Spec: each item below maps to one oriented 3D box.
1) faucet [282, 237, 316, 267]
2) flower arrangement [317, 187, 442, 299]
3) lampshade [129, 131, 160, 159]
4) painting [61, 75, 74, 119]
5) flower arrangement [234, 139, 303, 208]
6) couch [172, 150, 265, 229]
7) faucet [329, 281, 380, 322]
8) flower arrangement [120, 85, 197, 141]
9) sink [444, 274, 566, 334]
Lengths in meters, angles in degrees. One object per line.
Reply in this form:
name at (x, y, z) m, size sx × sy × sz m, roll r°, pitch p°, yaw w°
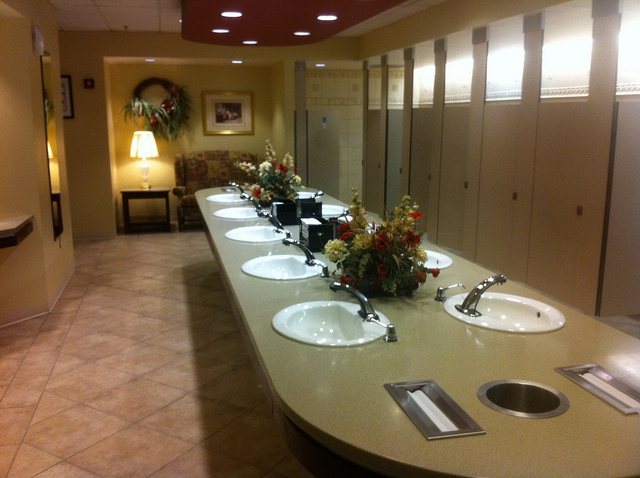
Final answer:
faucet at (-0.110, 0.069, 2.914) m, size 0.243 × 0.094 × 0.115 m, roll 21°, pitch 16°, yaw 1°
flower arrangement at (0.294, -0.040, 2.548) m, size 0.591 × 0.438 × 0.586 m, roll -9°, pitch 16°, yaw -43°
lampshade at (-3.145, -1.604, 8.097) m, size 0.458 × 0.480 × 0.467 m, roll -1°, pitch 11°, yaw -8°
painting at (-4.094, -2.290, 7.408) m, size 0.200 × 0.680 × 0.084 m, roll -10°, pitch 17°, yaw -28°
flower arrangement at (-0.423, -0.594, 4.971) m, size 0.723 × 0.872 × 0.823 m, roll -7°, pitch 0°, yaw 12°
couch at (-1.914, -0.917, 8.286) m, size 1.623 × 1.524 × 1.394 m, roll -2°, pitch 4°, yaw 5°
faucet at (0.215, 0.292, 2.224) m, size 0.282 × 0.159 × 0.192 m, roll 11°, pitch 20°, yaw 39°
flower arrangement at (-3.078, -2.390, 8.356) m, size 1.156 × 0.556 × 0.723 m, roll 1°, pitch 21°, yaw 6°
sink at (0.918, 0.368, 2.325) m, size 0.348 × 0.206 × 0.347 m, roll -9°, pitch 9°, yaw -7°
